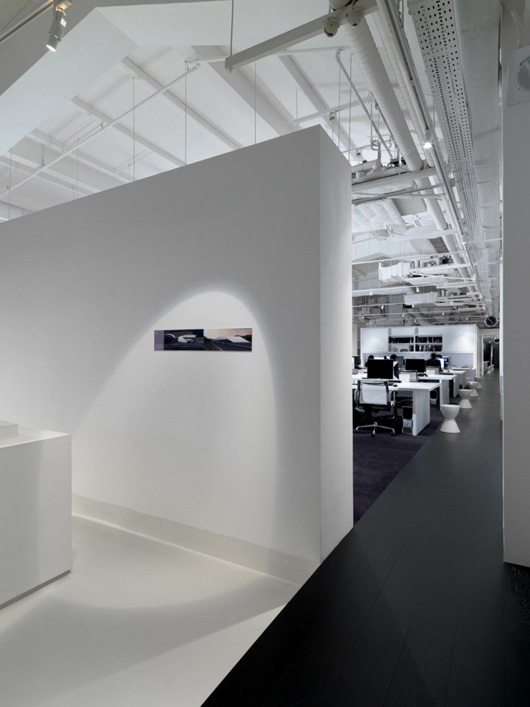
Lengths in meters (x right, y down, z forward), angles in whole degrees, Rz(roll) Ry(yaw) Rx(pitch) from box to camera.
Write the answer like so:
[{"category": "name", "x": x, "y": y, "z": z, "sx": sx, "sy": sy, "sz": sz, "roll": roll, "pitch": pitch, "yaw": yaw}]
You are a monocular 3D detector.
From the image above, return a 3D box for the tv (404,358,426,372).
[{"category": "tv", "x": 3.457, "y": 0.387, "z": 11.559, "sx": 0.239, "sy": 0.356, "sz": 0.468, "roll": 4, "pitch": -7, "yaw": -35}]

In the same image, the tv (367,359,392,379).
[{"category": "tv", "x": 1.722, "y": 0.255, "z": 7.595, "sx": 0.380, "sy": 0.306, "sz": 0.388, "roll": -1, "pitch": 2, "yaw": 15}]
